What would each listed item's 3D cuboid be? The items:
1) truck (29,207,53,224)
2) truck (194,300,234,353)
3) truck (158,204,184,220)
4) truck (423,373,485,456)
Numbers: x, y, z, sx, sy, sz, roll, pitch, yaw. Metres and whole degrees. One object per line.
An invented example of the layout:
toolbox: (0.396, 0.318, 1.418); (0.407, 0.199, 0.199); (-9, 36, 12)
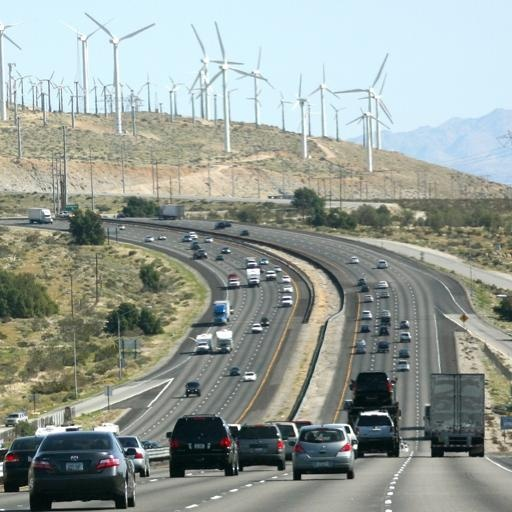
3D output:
truck: (-30.556, -5.568, 199.658); (1.618, 1.773, 3.482); (-2, 1, -34)
truck: (-3.621, 7.381, 135.519); (2.012, 2.292, 7.770); (-1, 14, 7)
truck: (-12.759, -6.777, 220.785); (3.942, 2.075, 2.526); (0, 3, 13)
truck: (10.132, 7.823, 72.847); (2.052, 2.735, 5.032); (1, 5, 5)
